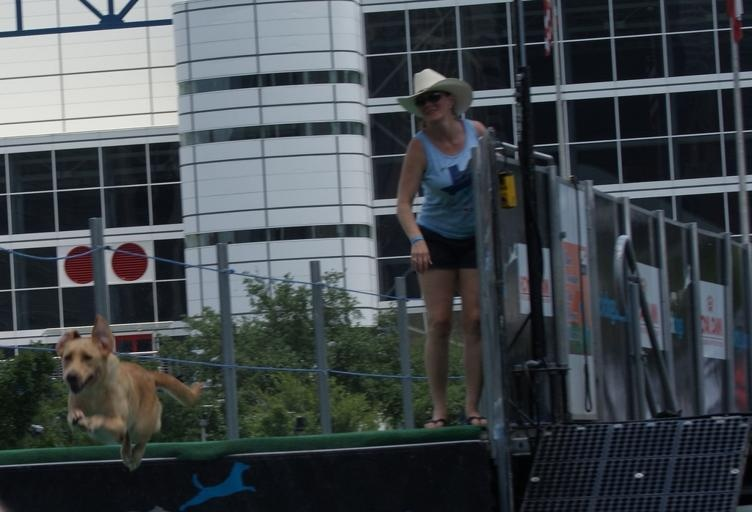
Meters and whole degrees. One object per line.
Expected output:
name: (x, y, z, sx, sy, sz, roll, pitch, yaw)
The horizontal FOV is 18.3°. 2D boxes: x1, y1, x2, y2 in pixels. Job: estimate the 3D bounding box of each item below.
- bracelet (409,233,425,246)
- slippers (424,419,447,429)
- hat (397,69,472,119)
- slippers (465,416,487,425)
bracelet: (0.980, -0.389, 51.092, 0.308, 0.184, 0.246, 2, -7, -23)
slippers: (1.409, 3.595, 50.927, 0.517, 0.238, 0.761, -4, -7, 3)
hat: (1.482, -3.705, 51.247, 1.210, 0.495, 1.275, -19, -25, 12)
slippers: (2.296, 3.544, 50.898, 0.422, 0.217, 0.477, -3, -7, -3)
